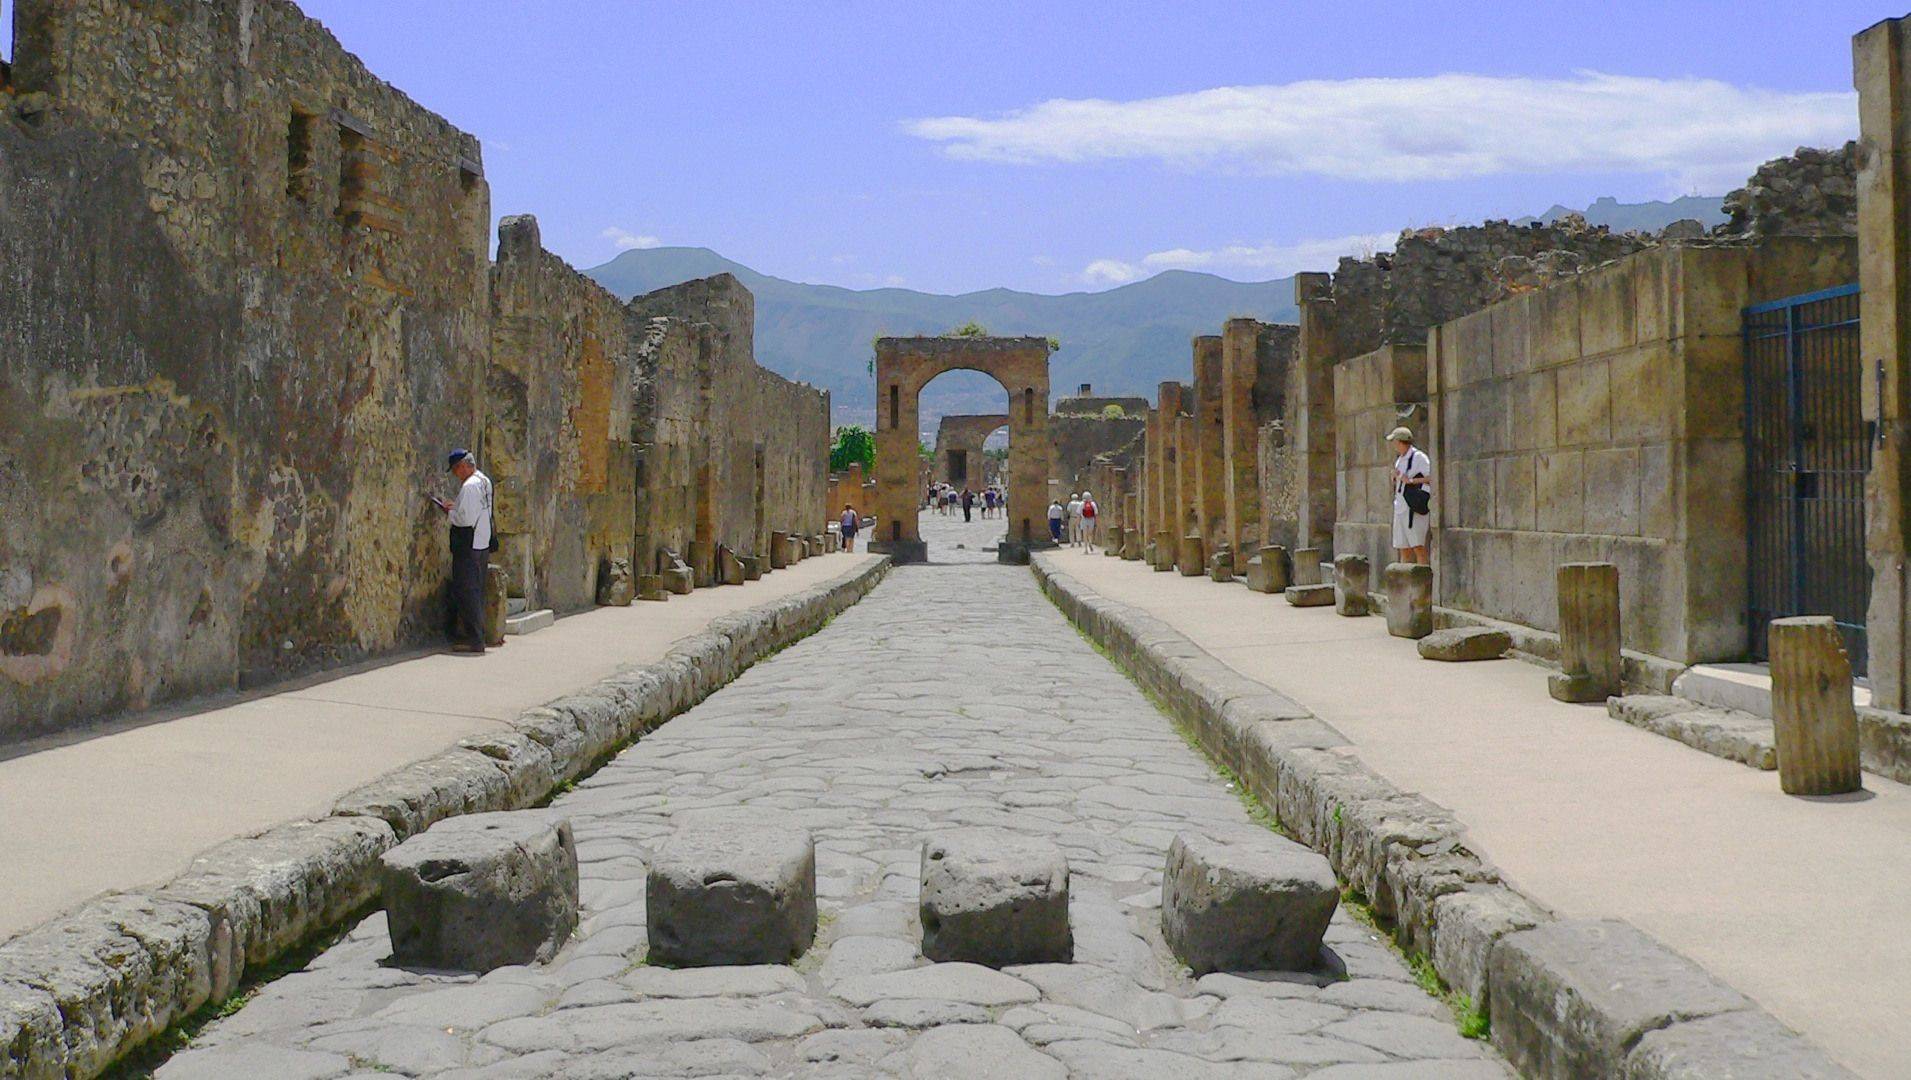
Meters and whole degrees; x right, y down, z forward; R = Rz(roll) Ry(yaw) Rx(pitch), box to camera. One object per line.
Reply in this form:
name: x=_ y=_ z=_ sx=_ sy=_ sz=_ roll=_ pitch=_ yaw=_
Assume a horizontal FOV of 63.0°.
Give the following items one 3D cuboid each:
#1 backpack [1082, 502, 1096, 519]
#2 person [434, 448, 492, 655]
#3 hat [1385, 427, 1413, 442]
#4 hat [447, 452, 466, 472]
backpack: x=2.840 y=-0.631 z=33.283 sx=0.296 sy=0.212 sz=0.409 roll=6 pitch=-34 yaw=10
person: x=-3.883 y=0.069 z=12.392 sx=0.416 sy=1.568 sz=0.522 roll=0 pitch=1 yaw=-7
hat: x=3.749 y=-0.898 z=13.253 sx=0.232 sy=0.113 sz=0.170 roll=2 pitch=3 yaw=23
hat: x=-3.917 y=-0.625 z=12.332 sx=0.185 sy=0.094 sz=0.131 roll=5 pitch=33 yaw=31
